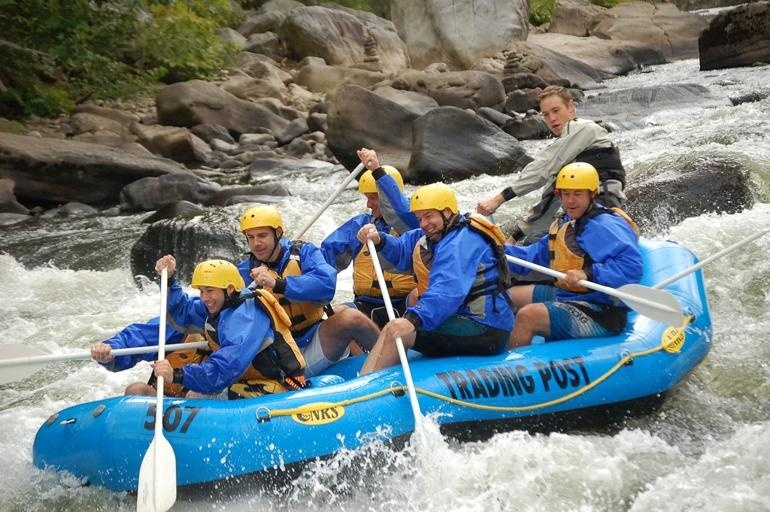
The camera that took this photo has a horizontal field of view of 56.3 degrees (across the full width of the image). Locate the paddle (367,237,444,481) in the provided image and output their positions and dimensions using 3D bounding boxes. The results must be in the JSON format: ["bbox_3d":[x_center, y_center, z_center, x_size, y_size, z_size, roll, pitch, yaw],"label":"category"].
[{"bbox_3d":[0.105,0.904,6.868,0.391,2.481,0.190,-25,-27,6],"label":"paddle"}]

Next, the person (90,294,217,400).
[{"bbox_3d":[-2.339,0.915,7.029,0.883,1.337,0.953,17,-43,-34],"label":"person"}]

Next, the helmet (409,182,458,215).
[{"bbox_3d":[0.472,-0.571,7.095,0.406,0.239,0.298,-14,16,-23],"label":"helmet"}]

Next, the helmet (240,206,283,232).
[{"bbox_3d":[-1.238,-0.356,7.327,0.273,0.254,0.359,-10,-20,40],"label":"helmet"}]

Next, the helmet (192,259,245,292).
[{"bbox_3d":[-1.607,0.202,6.871,0.392,0.198,0.297,22,-16,-35],"label":"helmet"}]

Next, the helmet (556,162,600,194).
[{"bbox_3d":[1.948,-0.798,7.305,0.300,0.290,0.390,11,19,36],"label":"helmet"}]

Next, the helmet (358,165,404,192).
[{"bbox_3d":[-0.009,-0.884,8.217,0.481,0.226,0.328,-4,8,-23],"label":"helmet"}]
